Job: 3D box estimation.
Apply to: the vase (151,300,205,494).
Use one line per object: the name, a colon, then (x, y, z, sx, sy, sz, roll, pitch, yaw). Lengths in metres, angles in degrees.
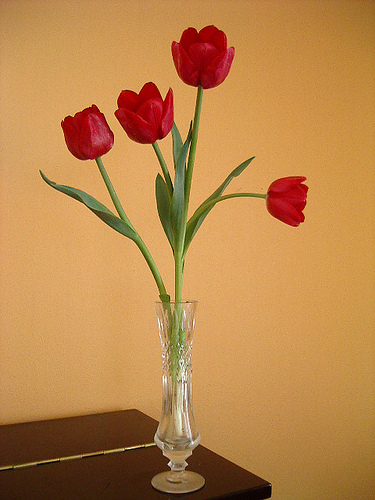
vase: (-0.018, 0.229, 0.870, 0.089, 0.293, 0.149, -1, 0, -14)

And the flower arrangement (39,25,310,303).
flower arrangement: (-0.021, -0.092, 0.891, 0.387, 0.588, 0.193, -3, 30, -3)
